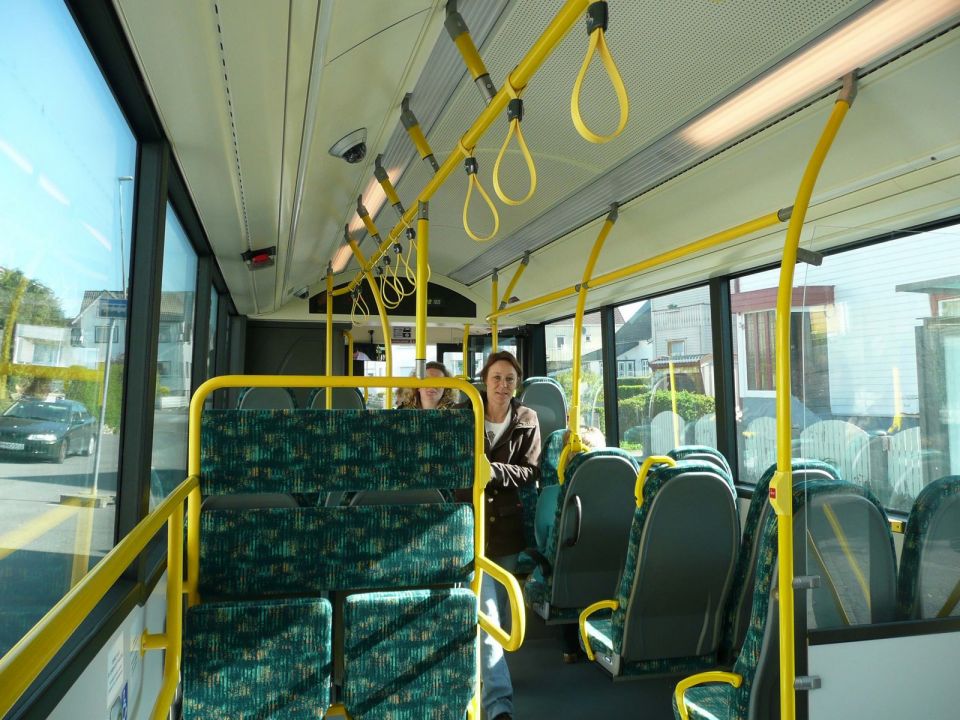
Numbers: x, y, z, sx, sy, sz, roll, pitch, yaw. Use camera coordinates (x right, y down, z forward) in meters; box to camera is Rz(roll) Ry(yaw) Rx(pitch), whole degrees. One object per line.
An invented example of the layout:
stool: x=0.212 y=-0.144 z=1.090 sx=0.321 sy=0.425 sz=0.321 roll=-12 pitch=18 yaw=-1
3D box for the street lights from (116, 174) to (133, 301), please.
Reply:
street lights: x=-1.387 y=-0.489 z=2.773 sx=0.047 sy=0.486 sz=0.170 roll=3 pitch=-5 yaw=-19
